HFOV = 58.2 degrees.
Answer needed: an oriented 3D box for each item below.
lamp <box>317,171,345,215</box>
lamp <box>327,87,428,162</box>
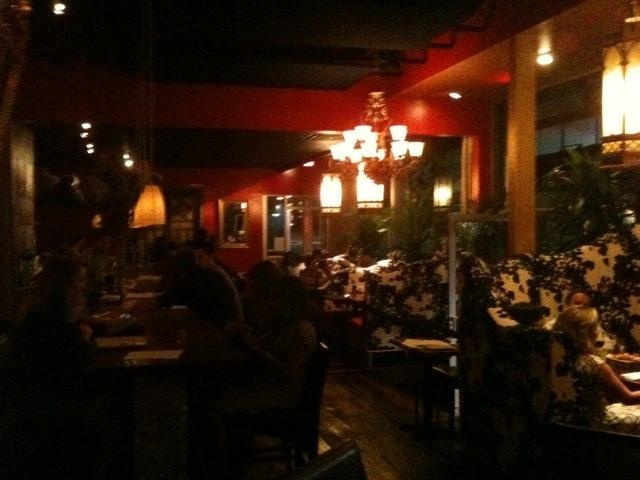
[{"bbox_3d":[0.041,-0.170,2.061,0.085,0.141,0.029,0,0,-11],"label":"lamp"},{"bbox_3d":[0.246,-0.407,2.221,0.345,0.204,0.307,0,0,5],"label":"lamp"}]
